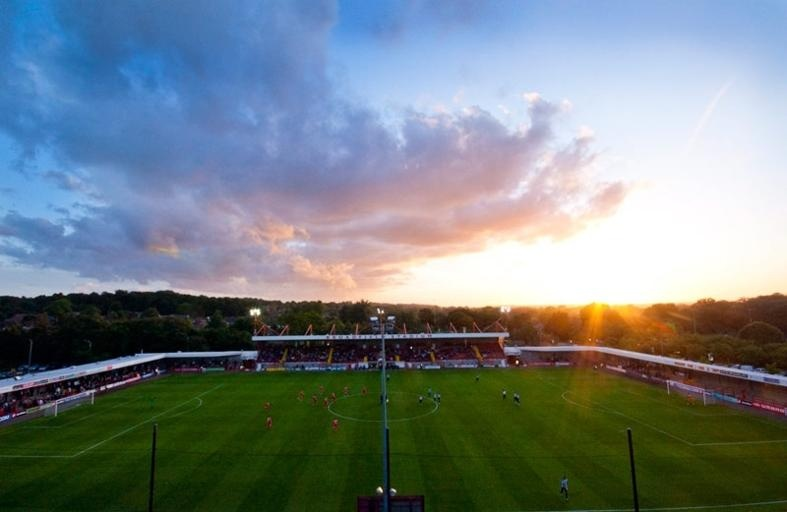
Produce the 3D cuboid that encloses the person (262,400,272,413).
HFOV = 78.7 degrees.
[{"bbox_3d":[-21.121,25.243,80.325,1.205,0.799,1.643,33,-15,-11],"label":"person"}]

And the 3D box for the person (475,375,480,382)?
[{"bbox_3d":[17.511,25.711,100.619,0.524,0.580,1.612,2,15,19],"label":"person"}]
